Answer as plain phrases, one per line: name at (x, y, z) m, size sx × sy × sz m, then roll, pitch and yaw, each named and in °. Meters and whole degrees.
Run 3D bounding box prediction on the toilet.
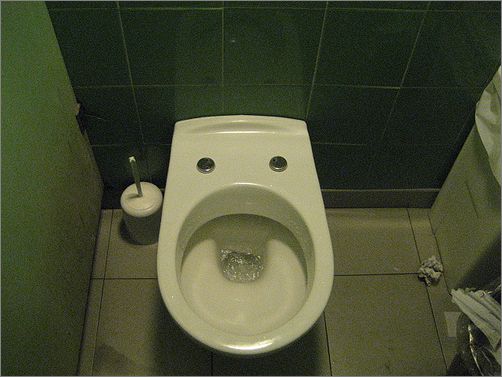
toilet at (-0.015, 0.185, 1.346) m, size 0.534 × 0.396 × 0.602 m, roll 1°, pitch 59°, yaw -3°
